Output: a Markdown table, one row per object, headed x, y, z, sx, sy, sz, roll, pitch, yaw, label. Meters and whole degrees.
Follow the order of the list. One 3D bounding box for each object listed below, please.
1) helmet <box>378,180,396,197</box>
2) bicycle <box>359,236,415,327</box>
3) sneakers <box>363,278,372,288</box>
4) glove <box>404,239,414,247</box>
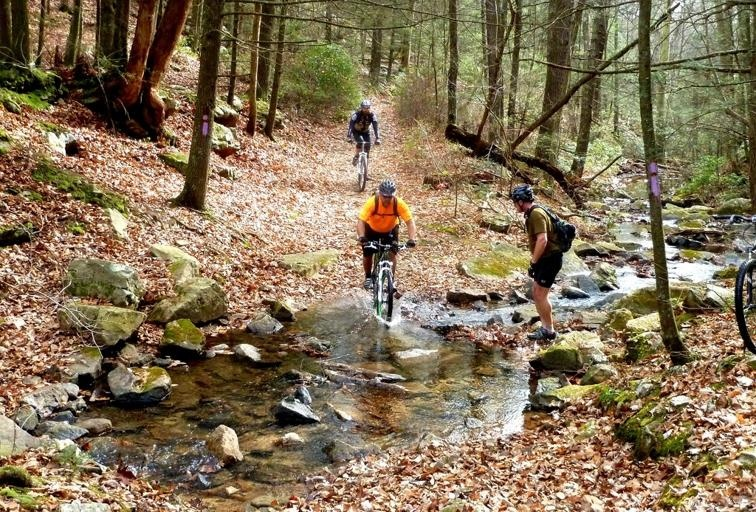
| x | y | z | sx | sy | sz | roll | pitch | yaw | label |
| --- | --- | --- | --- | --- | --- | --- | --- | --- | --- |
| 0.198 | -1.456 | 16.736 | 0.341 | 0.345 | 0.298 | 2 | 9 | -10 | helmet |
| 0.055 | 0.556 | 17.080 | 0.809 | 1.874 | 1.242 | -3 | 12 | -37 | bicycle |
| -0.234 | 0.647 | 17.358 | 0.237 | 0.179 | 0.326 | 7 | -4 | 1 | sneakers |
| 0.682 | -0.257 | 16.720 | 0.180 | 0.099 | 0.224 | 2 | 7 | 5 | glove |
